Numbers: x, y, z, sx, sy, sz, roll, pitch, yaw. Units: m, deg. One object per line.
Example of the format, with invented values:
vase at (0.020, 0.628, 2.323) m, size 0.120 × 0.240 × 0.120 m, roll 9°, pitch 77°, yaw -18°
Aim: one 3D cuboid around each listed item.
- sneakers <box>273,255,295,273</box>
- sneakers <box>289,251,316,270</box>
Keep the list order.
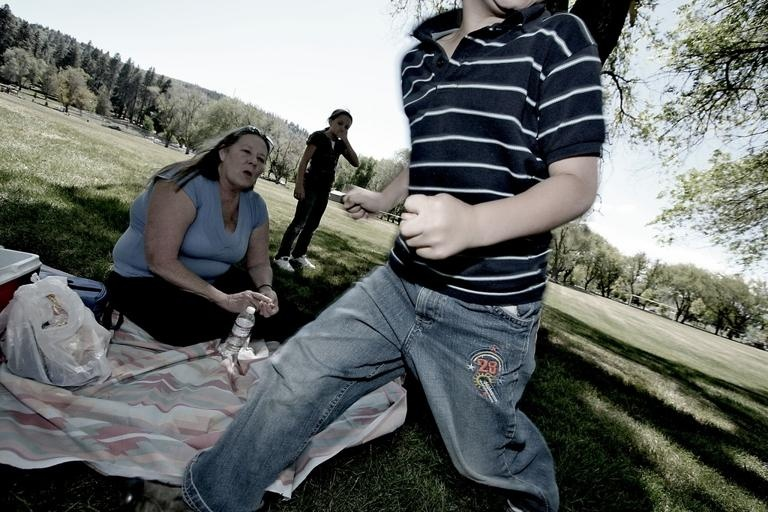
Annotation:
sneakers at (-1.701, 0.137, 7.386) m, size 0.477 × 0.204 × 0.163 m, roll 14°, pitch 12°, yaw 32°
sneakers at (-1.500, 0.112, 8.052) m, size 0.528 × 0.233 × 0.195 m, roll 7°, pitch 9°, yaw -25°
